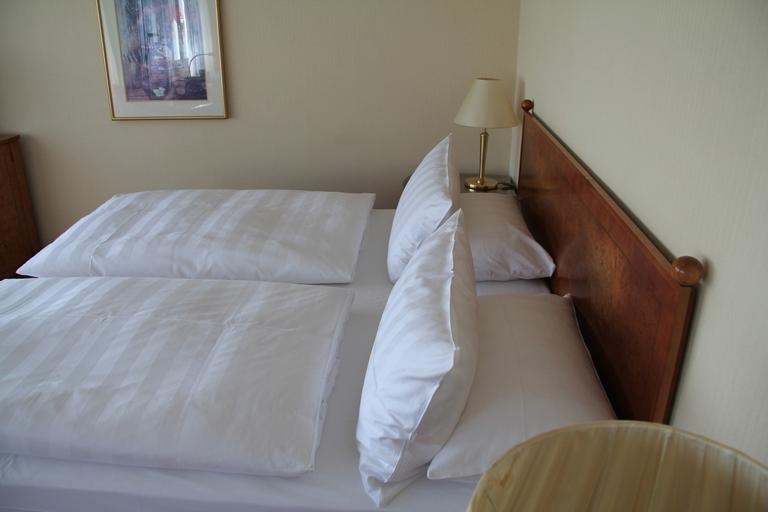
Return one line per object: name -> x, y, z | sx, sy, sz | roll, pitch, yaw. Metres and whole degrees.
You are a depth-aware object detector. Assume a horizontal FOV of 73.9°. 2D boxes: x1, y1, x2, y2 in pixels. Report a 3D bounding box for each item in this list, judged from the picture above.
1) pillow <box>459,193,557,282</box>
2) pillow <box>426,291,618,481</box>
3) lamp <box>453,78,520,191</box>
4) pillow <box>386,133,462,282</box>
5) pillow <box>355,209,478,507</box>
pillow -> 0.523, -0.062, 2.189 | 0.320, 0.136, 0.475 | -2, 33, -3
pillow -> 0.388, 0.365, 1.442 | 0.401, 0.183, 0.652 | 0, 30, 13
lamp -> 0.598, -0.722, 3.041 | 0.365, 0.623, 0.381 | -7, 23, -14
pillow -> 0.184, -0.246, 2.291 | 0.325, 0.354, 0.898 | 3, 36, 15
pillow -> 0.110, 0.307, 1.548 | 0.342, 0.558, 0.621 | 1, 21, 12
